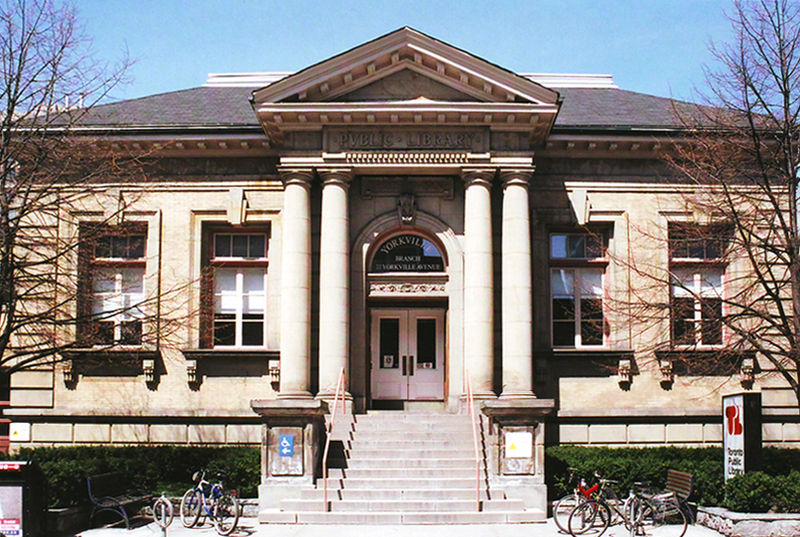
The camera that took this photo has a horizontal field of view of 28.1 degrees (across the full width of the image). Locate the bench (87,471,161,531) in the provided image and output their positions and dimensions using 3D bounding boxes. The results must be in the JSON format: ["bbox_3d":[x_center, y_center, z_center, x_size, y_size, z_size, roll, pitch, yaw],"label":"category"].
[{"bbox_3d":[-8.765,7.210,50.486,1.524,1.863,2.643,-6,-12,19],"label":"bench"}]
